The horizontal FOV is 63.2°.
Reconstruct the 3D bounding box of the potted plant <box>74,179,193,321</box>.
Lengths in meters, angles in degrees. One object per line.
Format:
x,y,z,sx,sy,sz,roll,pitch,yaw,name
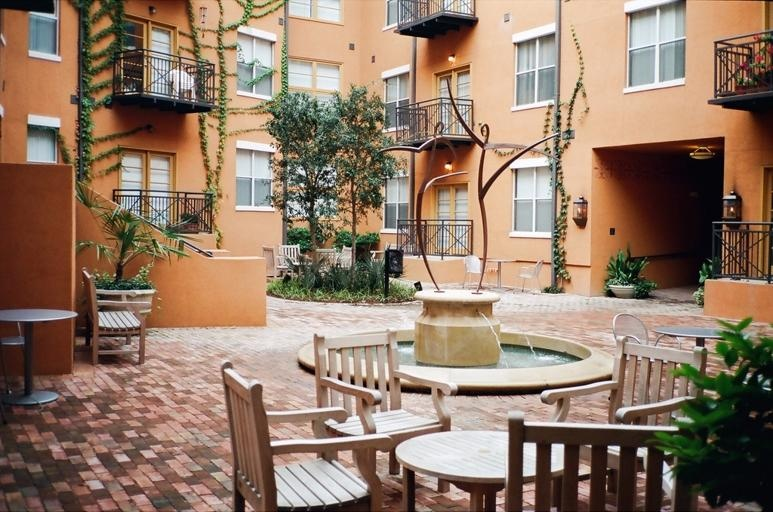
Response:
-4.843,-0.048,11.532,2.086,1.488,2.093,8,-5,-8,potted plant

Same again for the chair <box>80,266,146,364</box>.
-4.508,0.905,10.268,0.855,1.226,2.317,5,2,-30,chair

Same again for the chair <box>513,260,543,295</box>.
4.288,0.588,18.558,0.906,1.235,0.887,1,-1,-6,chair

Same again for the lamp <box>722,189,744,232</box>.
8.126,-1.101,14.923,0.668,0.918,0.385,0,1,-28,lamp

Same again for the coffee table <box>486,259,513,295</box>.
3.489,0.574,19.963,0.895,1.000,0.910,0,-3,-2,coffee table

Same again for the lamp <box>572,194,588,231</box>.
5.425,-1.241,17.763,0.415,0.938,0.342,1,2,34,lamp

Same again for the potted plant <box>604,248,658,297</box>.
6.960,0.560,17.855,1.039,1.145,1.156,2,6,28,potted plant

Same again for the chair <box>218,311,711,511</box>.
0.920,1.356,5.176,3.114,1.406,2.364,0,1,-2,chair

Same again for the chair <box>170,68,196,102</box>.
-6.053,-5.125,18.702,0.875,0.944,0.561,-1,2,-38,chair

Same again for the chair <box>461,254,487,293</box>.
1.639,0.233,11.967,0.453,0.624,0.446,6,-15,-12,chair
